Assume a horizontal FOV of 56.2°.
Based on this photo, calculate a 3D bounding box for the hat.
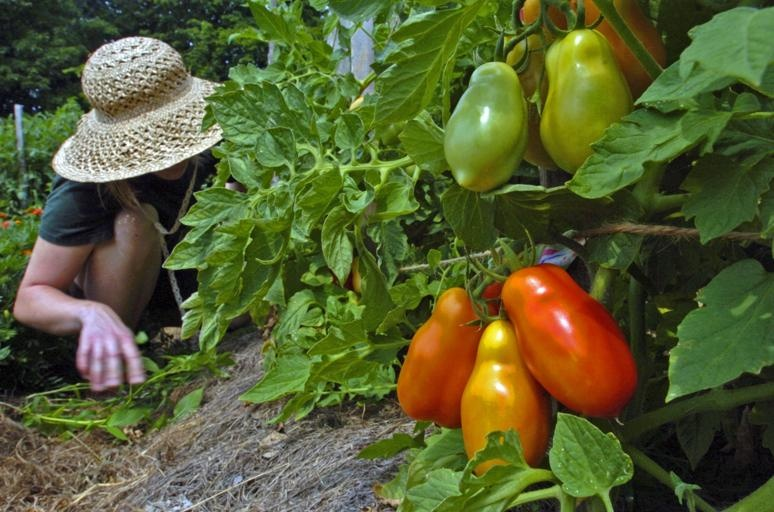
[{"bbox_3d":[-0.941,-0.568,3.072,0.780,0.352,0.754,-2,33,28],"label":"hat"}]

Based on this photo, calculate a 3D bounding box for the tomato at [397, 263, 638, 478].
[{"bbox_3d":[0.233,0.207,1.390,0.408,0.354,0.259,-10,15,-10],"label":"tomato"}]
